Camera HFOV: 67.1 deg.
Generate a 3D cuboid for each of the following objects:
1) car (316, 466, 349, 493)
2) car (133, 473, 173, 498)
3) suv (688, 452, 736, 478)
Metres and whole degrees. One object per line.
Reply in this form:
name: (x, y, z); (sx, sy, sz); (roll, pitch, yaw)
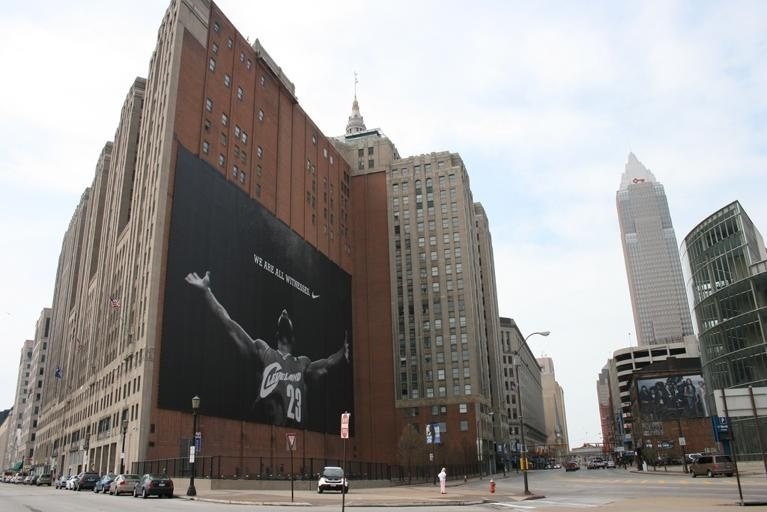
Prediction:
car: (-5.655, 23.752, 61.741); (2.277, 2.479, 2.181); (5, -24, -20)
car: (-22.838, 22.665, 57.138); (3.704, 2.309, 2.061); (-10, -23, 15)
suv: (43.179, 27.571, 76.099); (2.815, 2.850, 4.610); (12, -27, -33)
